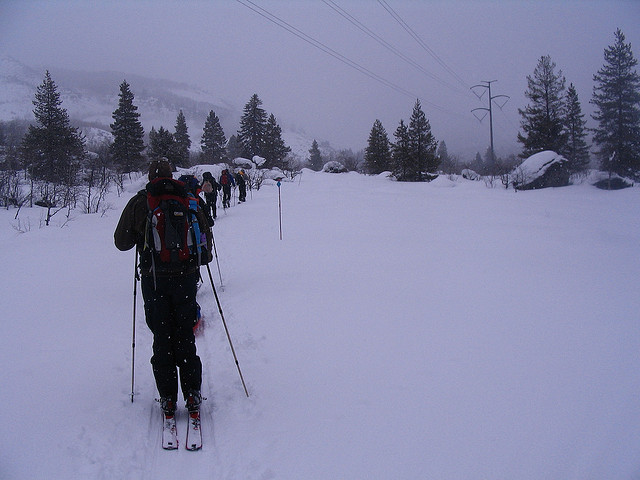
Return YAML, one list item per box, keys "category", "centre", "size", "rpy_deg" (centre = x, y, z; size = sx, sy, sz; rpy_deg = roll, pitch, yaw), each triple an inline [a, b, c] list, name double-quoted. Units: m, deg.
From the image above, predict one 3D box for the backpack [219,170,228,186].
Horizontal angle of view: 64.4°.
- category: "backpack"
  centre: [-3.993, -2.595, 21.135]
  size: [0.325, 0.538, 0.518]
  rpy_deg: [1, 49, -5]

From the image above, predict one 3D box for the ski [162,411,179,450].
- category: "ski"
  centre: [-2.335, 3.042, 7.942]
  size: [0.158, 0.229, 0.586]
  rpy_deg: [2, 43, -14]

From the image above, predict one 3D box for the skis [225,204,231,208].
- category: "skis"
  centre: [-4.021, -1.460, 22.002]
  size: [0.132, 0.150, 0.494]
  rpy_deg: [-2, 5, 11]
